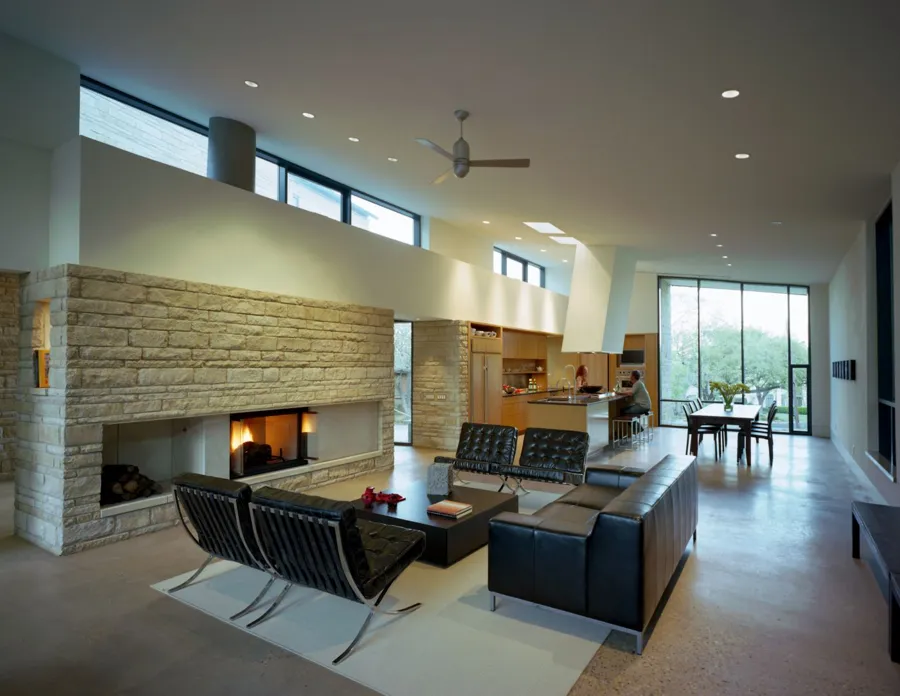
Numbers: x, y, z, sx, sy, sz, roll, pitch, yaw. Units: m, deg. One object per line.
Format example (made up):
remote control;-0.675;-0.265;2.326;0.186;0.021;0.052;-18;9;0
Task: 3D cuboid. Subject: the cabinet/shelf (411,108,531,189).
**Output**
cabinet/shelf;0.167;-2.068;5.866;0.902;0.458;0.827;9;-11;-43

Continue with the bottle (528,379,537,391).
bottle;1.904;0.816;13.581;0.168;0.355;0.345;-2;-3;21

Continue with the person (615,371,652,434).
person;3.610;1.004;11.622;0.632;1.215;0.447;0;5;20

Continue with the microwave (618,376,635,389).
microwave;4.144;0.766;13.888;0.293;0.300;0.164;-4;-11;35

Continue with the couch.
couch;1.437;1.569;5.372;1.264;1.009;2.331;2;3;33

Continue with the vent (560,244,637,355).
vent;2.779;-0.896;10.925;1.327;2.043;0.780;-4;10;-25

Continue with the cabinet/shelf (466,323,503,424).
cabinet/shelf;0.714;0.610;11.039;0.684;1.716;0.235;2;3;37
